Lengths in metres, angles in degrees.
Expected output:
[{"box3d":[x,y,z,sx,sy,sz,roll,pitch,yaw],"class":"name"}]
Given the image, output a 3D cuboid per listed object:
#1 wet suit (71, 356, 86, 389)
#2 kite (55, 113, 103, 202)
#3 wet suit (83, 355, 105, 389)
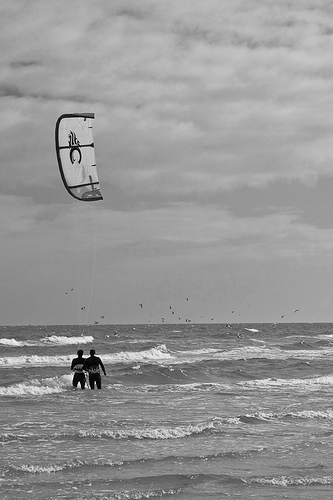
[{"box3d":[-2.157,2.931,26.132,0.331,0.830,0.795,0,-1,-5],"class":"wet suit"},{"box3d":[-1.924,-2.025,23.168,0.987,1.861,0.432,0,-1,-15],"class":"kite"},{"box3d":[-1.778,3.095,26.648,0.463,1.364,0.422,-4,-1,-2],"class":"wet suit"}]
